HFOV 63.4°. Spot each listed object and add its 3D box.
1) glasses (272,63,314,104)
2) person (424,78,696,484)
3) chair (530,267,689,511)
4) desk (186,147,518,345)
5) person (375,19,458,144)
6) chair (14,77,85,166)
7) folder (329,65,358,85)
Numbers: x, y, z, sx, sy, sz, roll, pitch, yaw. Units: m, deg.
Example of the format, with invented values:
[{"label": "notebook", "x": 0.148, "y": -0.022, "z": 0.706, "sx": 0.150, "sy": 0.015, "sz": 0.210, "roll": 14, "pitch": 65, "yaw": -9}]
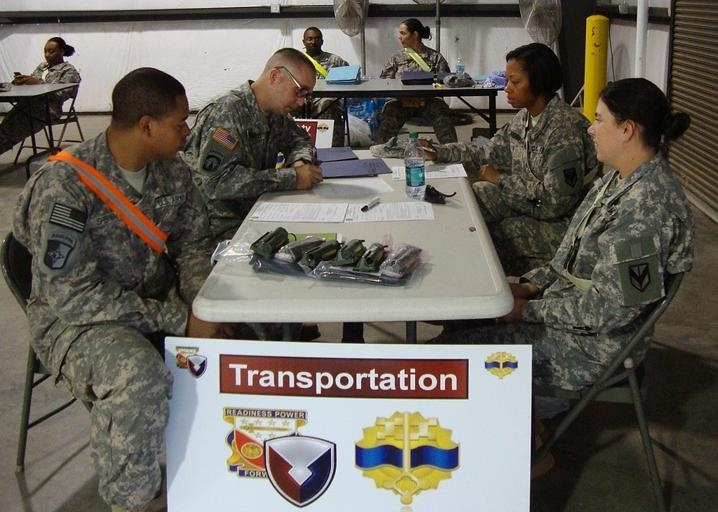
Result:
[{"label": "glasses", "x": -0.353, "y": -0.927, "z": 3.064, "sx": 0.174, "sy": 0.053, "sz": 0.168, "roll": 55, "pitch": 20, "yaw": 26}, {"label": "person", "x": 0.856, "y": 0.140, "z": 2.578, "sx": 1.103, "sy": 1.707, "sz": 0.791, "roll": 13, "pitch": 21, "yaw": 36}, {"label": "chair", "x": 0.986, "y": 0.576, "z": 2.207, "sx": 0.484, "sy": 1.008, "sz": 0.339, "roll": -12, "pitch": 24, "yaw": -14}, {"label": "desk", "x": 0.051, "y": 0.057, "z": 2.127, "sx": 0.676, "sy": 0.259, "sz": 1.102, "roll": 1, "pitch": 37, "yaw": 9}, {"label": "person", "x": 0.630, "y": -1.965, "z": 6.742, "sx": 0.955, "sy": 1.720, "sz": 1.096, "roll": 1, "pitch": -2, "yaw": -16}, {"label": "chair", "x": -3.815, "y": -1.742, "z": 7.482, "sx": 0.542, "sy": 0.721, "sz": 0.611, "roll": -11, "pitch": 19, "yaw": 2}, {"label": "folder", "x": -0.180, "y": -1.981, "z": 6.388, "sx": 0.284, "sy": 0.074, "sz": 0.288, "roll": 0, "pitch": 32, "yaw": 13}]
